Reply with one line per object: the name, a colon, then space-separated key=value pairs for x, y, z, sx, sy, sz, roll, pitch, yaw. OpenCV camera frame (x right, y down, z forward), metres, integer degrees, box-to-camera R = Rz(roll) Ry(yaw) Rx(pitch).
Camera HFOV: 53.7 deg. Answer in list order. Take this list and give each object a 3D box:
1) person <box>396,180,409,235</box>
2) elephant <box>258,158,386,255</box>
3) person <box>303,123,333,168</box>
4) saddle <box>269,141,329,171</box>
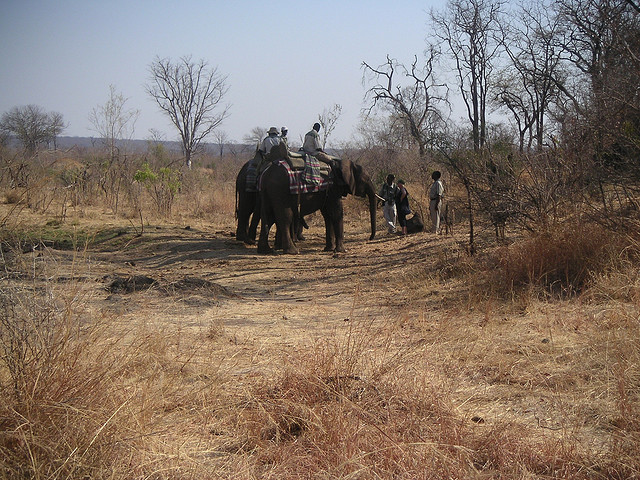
person: x=2.187 y=-0.896 z=16.740 sx=0.328 sy=1.431 sz=0.722 roll=0 pitch=2 yaw=7
elephant: x=0.134 y=-0.841 z=14.701 sx=3.017 sy=2.403 sz=1.513 roll=0 pitch=4 yaw=-20
person: x=-0.049 y=-2.212 z=14.792 sx=0.632 sy=1.077 sz=0.534 roll=5 pitch=-4 yaw=-23
saddle: x=-0.338 y=-1.891 z=14.218 sx=1.456 sy=0.935 sz=0.556 roll=-5 pitch=14 yaw=-26
